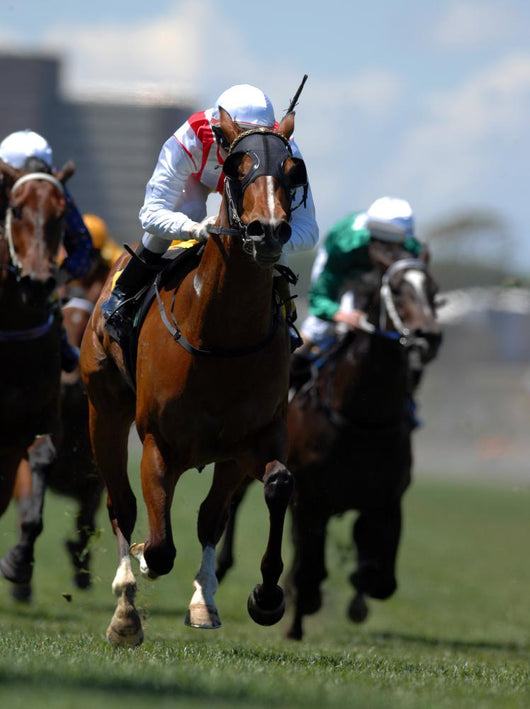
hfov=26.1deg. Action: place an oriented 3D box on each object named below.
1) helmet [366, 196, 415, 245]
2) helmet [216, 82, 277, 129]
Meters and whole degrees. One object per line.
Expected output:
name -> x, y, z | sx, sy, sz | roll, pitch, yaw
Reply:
helmet -> 0.578, -0.636, 5.277 | 0.232, 0.217, 0.204 | 4, -8, 4
helmet -> -0.063, -0.854, 3.840 | 0.203, 0.194, 0.221 | 5, -8, -2
